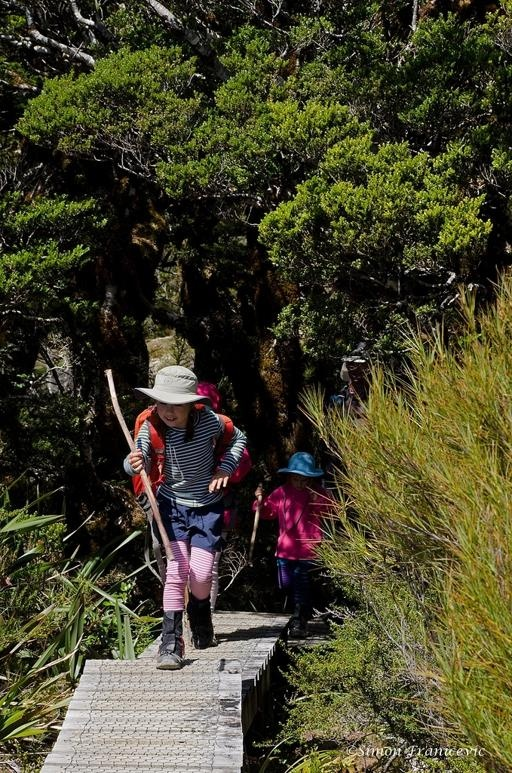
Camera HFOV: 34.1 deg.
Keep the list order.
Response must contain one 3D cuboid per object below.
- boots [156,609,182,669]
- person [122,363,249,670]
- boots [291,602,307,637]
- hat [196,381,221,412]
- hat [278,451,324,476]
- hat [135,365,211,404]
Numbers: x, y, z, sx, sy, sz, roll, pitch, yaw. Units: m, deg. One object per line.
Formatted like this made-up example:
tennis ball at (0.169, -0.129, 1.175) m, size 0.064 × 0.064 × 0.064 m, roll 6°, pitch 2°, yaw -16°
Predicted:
boots at (-0.356, 1.069, 3.526) m, size 0.115 × 0.223 × 0.323 m, roll 1°, pitch -8°, yaw 2°
person at (-0.316, 0.610, 3.669) m, size 0.392 × 1.396 × 0.824 m, roll 1°, pitch 19°, yaw 16°
boots at (0.247, 1.344, 4.777) m, size 0.090 × 0.129 × 0.210 m, roll -3°, pitch 18°, yaw 4°
hat at (-0.250, 0.057, 4.719) m, size 0.133 × 0.156 × 0.167 m, roll -10°, pitch -9°, yaw -6°
hat at (0.319, 0.510, 5.552) m, size 0.311 × 0.139 × 0.299 m, roll 4°, pitch -4°, yaw 7°
hat at (-0.353, 0.004, 3.557) m, size 0.270 × 0.169 × 0.269 m, roll -12°, pitch 19°, yaw -22°
